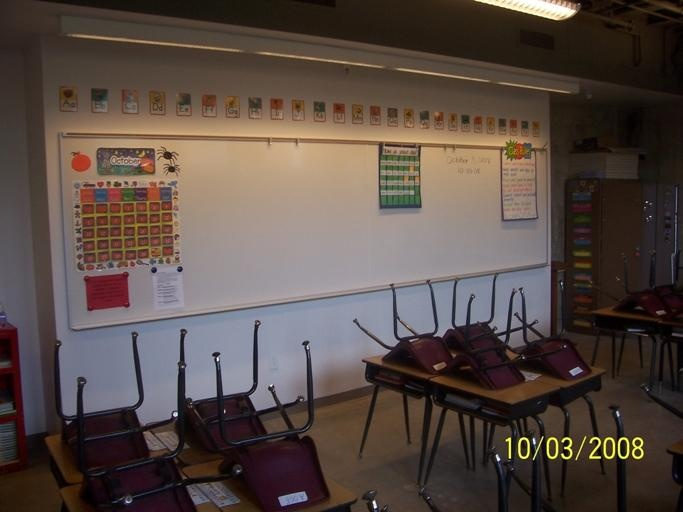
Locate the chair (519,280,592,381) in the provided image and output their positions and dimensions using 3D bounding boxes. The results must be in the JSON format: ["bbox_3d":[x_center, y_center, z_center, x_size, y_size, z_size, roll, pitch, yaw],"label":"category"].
[{"bbox_3d":[1.363,0.503,3.424,0.355,0.551,0.523,-8,4,-39],"label":"chair"}]

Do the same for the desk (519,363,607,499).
[{"bbox_3d":[1.421,1.095,3.314,0.489,0.572,0.426,-9,0,-1],"label":"desk"}]

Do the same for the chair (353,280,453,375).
[{"bbox_3d":[0.504,0.471,3.637,0.623,0.609,0.503,0,4,36],"label":"chair"}]

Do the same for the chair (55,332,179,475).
[{"bbox_3d":[-1.091,0.696,2.392,0.431,0.534,0.525,-3,14,-34],"label":"chair"}]

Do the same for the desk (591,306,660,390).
[{"bbox_3d":[2.871,0.935,5.142,0.605,0.589,0.538,0,-8,38],"label":"desk"}]

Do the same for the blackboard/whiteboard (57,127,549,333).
[{"bbox_3d":[0.088,-0.343,4.735,4.824,1.468,0.062,-6,11,-24],"label":"blackboard/whiteboard"}]

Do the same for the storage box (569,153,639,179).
[{"bbox_3d":[3.580,-1.219,6.897,0.846,0.417,0.559,-1,9,25],"label":"storage box"}]

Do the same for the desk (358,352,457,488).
[{"bbox_3d":[0.386,1.098,3.747,0.801,0.949,0.613,8,-3,-44],"label":"desk"}]

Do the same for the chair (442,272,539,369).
[{"bbox_3d":[1.325,0.559,4.617,0.558,0.683,0.872,-1,3,-30],"label":"chair"}]

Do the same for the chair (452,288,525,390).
[{"bbox_3d":[0.948,0.617,3.239,0.312,0.206,0.502,-17,41,-28],"label":"chair"}]
